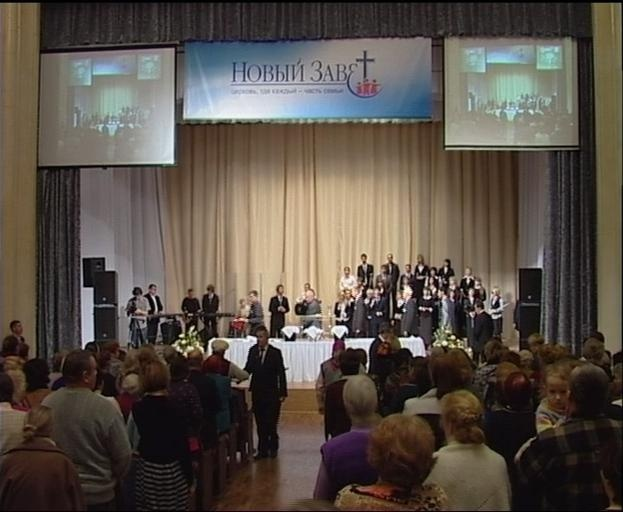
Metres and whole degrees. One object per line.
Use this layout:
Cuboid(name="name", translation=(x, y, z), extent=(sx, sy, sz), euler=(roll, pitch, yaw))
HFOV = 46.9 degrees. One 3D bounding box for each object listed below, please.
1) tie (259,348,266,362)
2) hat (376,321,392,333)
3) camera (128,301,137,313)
Cuboid(name="tie", translation=(-0.529, 1.092, 7.888), extent=(0.037, 0.153, 0.019), euler=(1, -18, 4))
Cuboid(name="hat", translation=(0.759, 0.738, 7.398), extent=(0.146, 0.088, 0.210), euler=(0, -8, -7))
Cuboid(name="camera", translation=(-3.525, 1.018, 14.225), extent=(0.109, 0.300, 0.119), euler=(-11, -29, 19))
